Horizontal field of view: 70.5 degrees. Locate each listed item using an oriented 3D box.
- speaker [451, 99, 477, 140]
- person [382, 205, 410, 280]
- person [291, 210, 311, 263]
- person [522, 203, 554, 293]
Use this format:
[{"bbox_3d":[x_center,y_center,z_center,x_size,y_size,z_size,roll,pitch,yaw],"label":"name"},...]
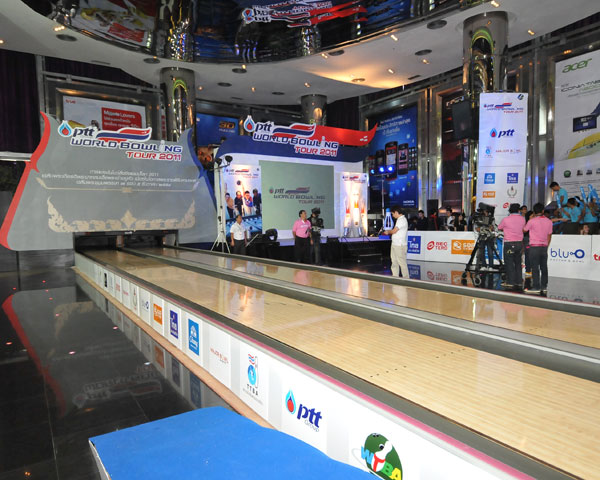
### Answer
[{"bbox_3d":[3.476,-2.634,9.263,0.557,0.855,0.577,-17,12,-22],"label":"speaker"},{"bbox_3d":[1.574,0.053,6.820,0.338,1.136,0.622,0,5,14],"label":"person"},{"bbox_3d":[0.049,-0.037,8.498,0.330,1.089,0.666,-1,5,2],"label":"person"},{"bbox_3d":[3.318,0.088,5.918,0.320,1.190,1.208,2,5,30],"label":"person"}]
